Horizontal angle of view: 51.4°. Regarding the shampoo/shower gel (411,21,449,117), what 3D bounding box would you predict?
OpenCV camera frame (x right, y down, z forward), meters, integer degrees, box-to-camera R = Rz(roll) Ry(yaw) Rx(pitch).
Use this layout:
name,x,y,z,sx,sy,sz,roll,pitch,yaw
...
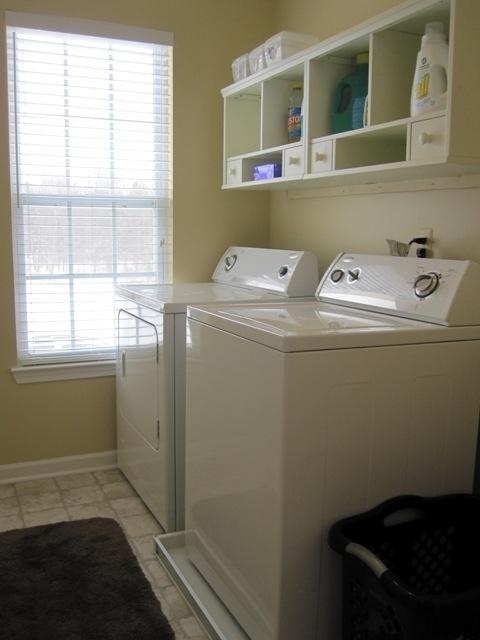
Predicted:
name,x,y,z,sx,sy,sz,roll,pitch,yaw
shampoo/shower gel,0.504,-0.658,1.330,0.092,0.220,0.096,3,3,25

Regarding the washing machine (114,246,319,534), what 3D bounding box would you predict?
name,x,y,z,sx,sy,sz,roll,pitch,yaw
washing machine,-0.161,0.171,2.263,0.824,1.201,1.107,-5,12,-21
